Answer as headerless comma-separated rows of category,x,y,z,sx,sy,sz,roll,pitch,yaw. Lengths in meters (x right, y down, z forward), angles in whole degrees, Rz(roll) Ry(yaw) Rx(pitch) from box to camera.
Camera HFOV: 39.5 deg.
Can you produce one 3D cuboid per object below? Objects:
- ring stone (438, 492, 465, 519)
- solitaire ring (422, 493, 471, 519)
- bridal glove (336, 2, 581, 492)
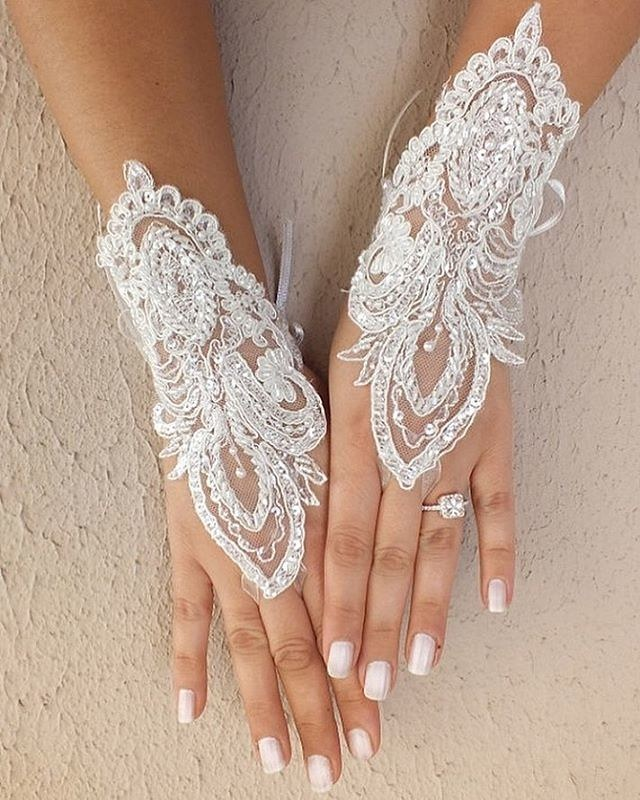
ring stone,0.150,0.121,1.015,0.032,0.017,0.029,-1,80,-1
solitaire ring,0.145,0.121,1.010,0.036,0.036,0.019,-3,88,-9
bridal glove,0.150,-0.170,1.001,0.245,0.011,0.547,11,94,-10
